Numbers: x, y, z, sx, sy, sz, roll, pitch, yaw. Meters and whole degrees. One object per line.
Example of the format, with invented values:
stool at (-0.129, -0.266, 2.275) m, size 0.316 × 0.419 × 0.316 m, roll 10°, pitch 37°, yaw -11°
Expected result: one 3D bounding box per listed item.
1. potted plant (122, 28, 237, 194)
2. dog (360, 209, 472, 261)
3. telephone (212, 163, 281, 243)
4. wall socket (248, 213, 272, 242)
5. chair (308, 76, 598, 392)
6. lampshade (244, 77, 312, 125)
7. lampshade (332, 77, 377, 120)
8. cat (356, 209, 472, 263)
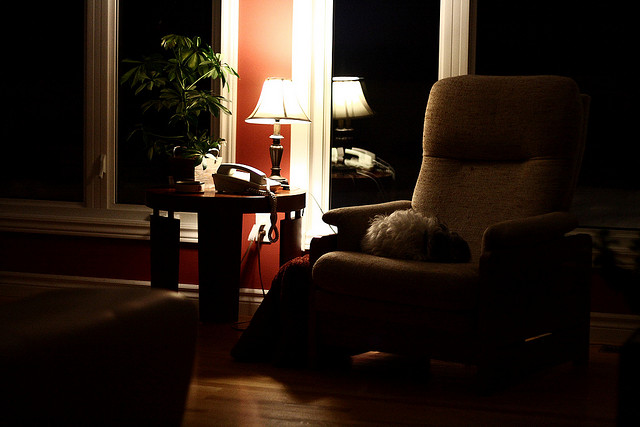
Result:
potted plant at (-0.871, -0.600, 3.267) m, size 0.611 × 0.889 × 0.541 m, roll -7°, pitch 13°, yaw 4°
dog at (0.463, 0.112, 2.500) m, size 0.389 × 0.139 × 0.255 m, roll 5°, pitch -1°, yaw 6°
telephone at (-0.394, -0.077, 3.074) m, size 0.435 × 0.431 × 0.493 m, roll 0°, pitch 4°, yaw -42°
wall socket at (-0.381, 0.102, 3.460) m, size 0.195 × 0.181 × 0.051 m, roll 3°, pitch -9°, yaw 29°
chair at (0.672, 0.034, 2.662) m, size 1.405 × 1.369 × 1.322 m, roll -3°, pitch 6°, yaw -9°
lampshade at (-0.251, -0.666, 3.200) m, size 0.441 × 0.252 × 0.444 m, roll 4°, pitch 5°, yaw 39°
lampshade at (0.192, -0.728, 3.437) m, size 0.286 × 0.156 × 0.287 m, roll 2°, pitch 10°, yaw 35°
cat at (0.464, 0.109, 2.527) m, size 0.399 × 0.144 × 0.272 m, roll 6°, pitch -1°, yaw 7°
